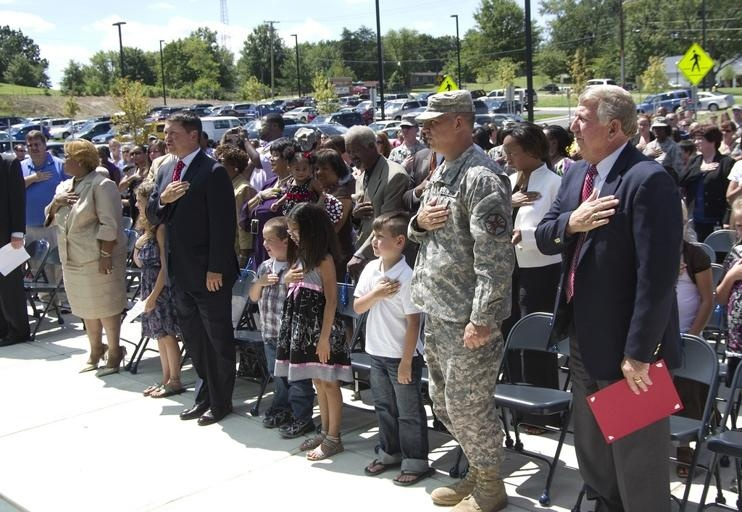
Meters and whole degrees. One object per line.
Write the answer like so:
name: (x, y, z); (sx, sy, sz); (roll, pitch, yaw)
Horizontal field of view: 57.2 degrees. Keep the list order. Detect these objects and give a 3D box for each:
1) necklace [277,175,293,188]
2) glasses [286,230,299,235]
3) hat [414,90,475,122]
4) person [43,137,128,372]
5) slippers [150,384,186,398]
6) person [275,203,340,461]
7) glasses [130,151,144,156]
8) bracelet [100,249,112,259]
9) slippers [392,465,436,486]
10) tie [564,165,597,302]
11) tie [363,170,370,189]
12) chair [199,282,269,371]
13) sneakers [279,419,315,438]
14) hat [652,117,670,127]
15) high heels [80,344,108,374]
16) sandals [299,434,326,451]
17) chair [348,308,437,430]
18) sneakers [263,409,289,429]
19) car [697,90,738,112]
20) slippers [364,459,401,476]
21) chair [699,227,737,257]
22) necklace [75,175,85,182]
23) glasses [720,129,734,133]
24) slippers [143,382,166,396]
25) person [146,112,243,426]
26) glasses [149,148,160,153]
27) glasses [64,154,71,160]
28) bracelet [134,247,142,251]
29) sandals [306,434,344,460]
necklace: (-0.914, -0.765, 6.971); (0.171, 0.156, 0.135); (5, 10, 40)
glasses: (-0.643, -0.194, 5.571); (0.076, 0.067, 0.056); (-15, 12, -16)
hat: (0.510, -0.997, 4.491); (0.292, 0.133, 0.209); (-3, 12, 6)
person: (-3.108, -0.029, 7.545); (0.574, 2.515, 0.917); (-10, 12, -44)
slippers: (-2.034, 1.328, 6.782); (0.242, 0.080, 0.133); (3, -2, -24)
person: (-0.499, 0.591, 5.528); (0.600, 2.029, 0.475); (-4, 8, -10)
glasses: (-3.924, -1.714, 11.344); (0.179, 0.107, 0.077); (4, 10, 35)
bracelet: (-2.846, -0.038, 7.305); (0.114, 0.093, 0.106); (-7, 9, -28)
slippers: (0.321, 1.623, 5.118); (0.282, 0.075, 0.108); (-3, 1, -32)
tie: (1.304, -0.152, 4.219); (0.127, 1.044, 0.114); (3, -13, 28)
tie: (-0.050, -0.727, 6.426); (0.046, 0.124, 0.091); (9, -4, -38)
chair: (-1.520, 0.748, 6.797); (0.564, 1.045, 0.752); (-1, 1, -20)
sneakers: (-0.638, 1.462, 5.853); (0.287, 0.126, 0.114); (1, 2, -26)
hat: (4.514, -2.047, 10.405); (0.372, 0.114, 0.268); (-2, 5, -20)
high heels: (-3.068, 1.145, 7.538); (0.138, 0.204, 0.418); (1, 7, 18)
sandals: (-0.489, 1.512, 5.603); (0.271, 0.104, 0.105); (3, -5, -40)
chair: (0.179, 0.865, 5.251); (1.108, 0.766, 0.467); (-1, -4, 38)
sneakers: (-0.838, 1.438, 6.037); (0.290, 0.112, 0.105); (1, 3, -34)
car: (20.810, -9.332, 41.183); (1.833, 1.163, 3.037); (2, 9, 25)
slippers: (0.085, 1.619, 5.277); (0.261, 0.070, 0.102); (2, -2, -28)
chair: (3.685, -0.156, 7.210); (0.286, 0.393, 0.304); (3, 18, 10)
necklace: (-3.215, -0.857, 7.488); (0.069, 0.052, 0.069); (9, -14, -29)
glasses: (5.955, -2.088, 11.397); (0.174, 0.057, 0.166); (-1, 4, -37)
slippers: (-2.180, 1.320, 6.815); (0.105, 0.066, 0.191); (-3, -3, 10)
person: (-1.552, 0.102, 6.226); (0.615, 2.770, 0.500); (-8, 10, -36)
glasses: (-3.358, -1.638, 10.531); (0.125, 0.038, 0.131); (1, 3, 7)
glasses: (-3.291, -1.072, 7.375); (0.059, 0.070, 0.058); (3, 5, 11)
bracelet: (-2.486, -0.083, 7.249); (0.062, 0.060, 0.063); (-1, -4, 14)
sandals: (-0.364, 1.538, 5.540); (0.313, 0.131, 0.143); (-1, -2, -37)
